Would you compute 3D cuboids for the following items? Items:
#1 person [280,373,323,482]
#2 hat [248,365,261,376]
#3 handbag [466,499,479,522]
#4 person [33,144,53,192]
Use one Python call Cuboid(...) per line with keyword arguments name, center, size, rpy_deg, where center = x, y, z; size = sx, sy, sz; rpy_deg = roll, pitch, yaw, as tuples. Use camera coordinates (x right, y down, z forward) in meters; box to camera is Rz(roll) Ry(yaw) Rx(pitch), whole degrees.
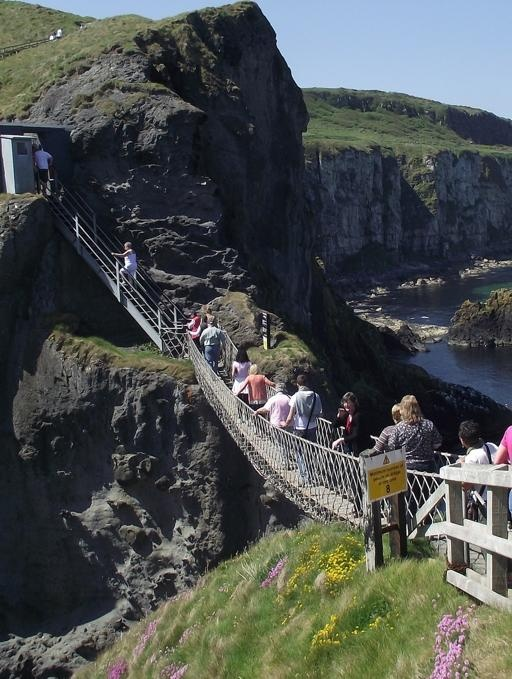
Cuboid(name="person", center=(0.660, 1.291, 12.316), size=(0.520, 1.668, 1.100), rpy_deg=(-3, 9, 3))
Cuboid(name="hat", center=(-0.019, 0.496, 14.061), size=(0.134, 0.230, 0.163), rpy_deg=(-3, 6, -13))
Cuboid(name="handbag", center=(2.213, 1.718, 8.823), size=(0.104, 0.218, 0.356), rpy_deg=(-1, 9, 18))
Cuboid(name="person", center=(-5.176, -4.135, 21.098), size=(0.385, 1.208, 0.787), rpy_deg=(-3, 9, 0))
